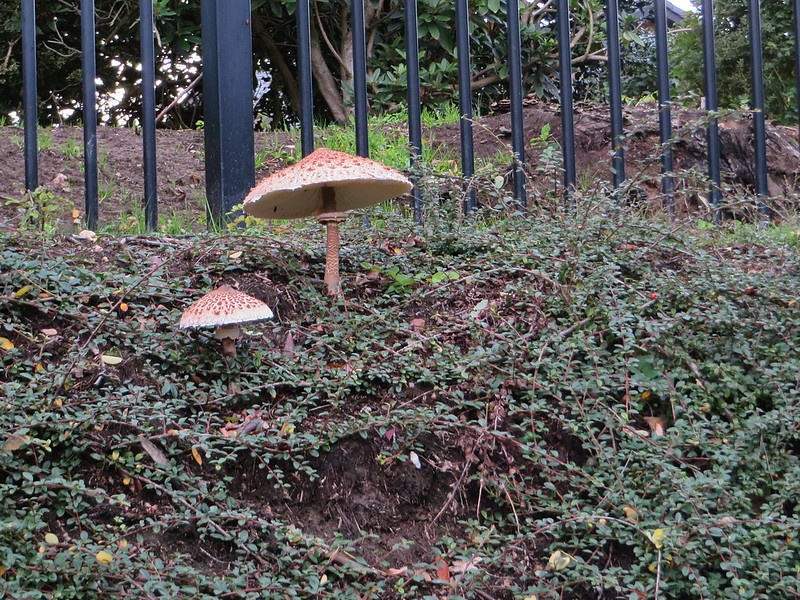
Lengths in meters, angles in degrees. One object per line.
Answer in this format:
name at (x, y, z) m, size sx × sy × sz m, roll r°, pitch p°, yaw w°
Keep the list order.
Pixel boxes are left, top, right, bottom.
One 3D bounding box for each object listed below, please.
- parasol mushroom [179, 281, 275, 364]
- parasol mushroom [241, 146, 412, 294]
parasol mushroom at (-0.906, 0.134, 3.754) m, size 0.427 × 0.377 × 0.423 m, roll -5°, pitch 2°, yaw 7°
parasol mushroom at (-0.429, -0.403, 4.208) m, size 0.787 × 0.713 × 0.788 m, roll 2°, pitch -9°, yaw -19°
